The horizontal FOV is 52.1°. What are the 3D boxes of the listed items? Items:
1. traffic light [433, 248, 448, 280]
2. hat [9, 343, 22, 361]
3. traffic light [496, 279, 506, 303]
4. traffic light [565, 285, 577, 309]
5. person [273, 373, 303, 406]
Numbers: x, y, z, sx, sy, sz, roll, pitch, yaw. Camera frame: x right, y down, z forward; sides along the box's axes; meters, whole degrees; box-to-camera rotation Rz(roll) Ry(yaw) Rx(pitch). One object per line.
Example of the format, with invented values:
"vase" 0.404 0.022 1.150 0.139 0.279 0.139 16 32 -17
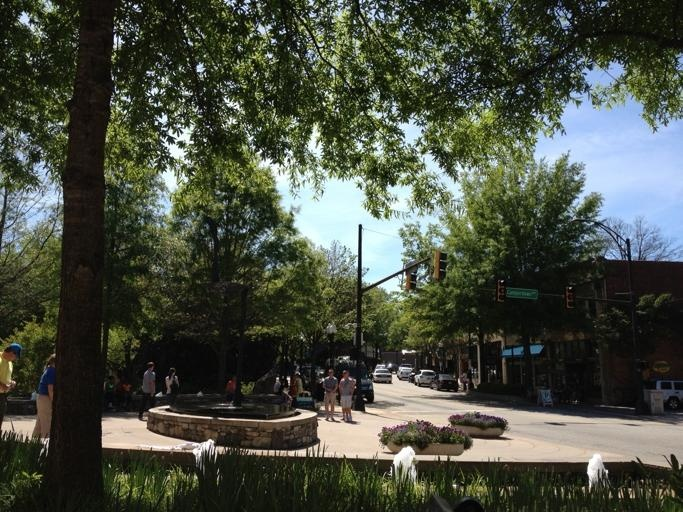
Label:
"traffic light" 3.730 0.280 26.325 0.412 1.193 0.700 -1 -13 0
"hat" -6.117 1.782 13.054 0.227 0.203 0.355 23 -10 6
"traffic light" 7.590 1.636 33.303 0.289 1.089 0.644 -6 -14 24
"traffic light" 10.875 1.912 33.268 0.376 1.178 0.884 -5 -14 21
"person" -2.090 5.182 27.004 1.064 0.995 2.025 13 7 0
